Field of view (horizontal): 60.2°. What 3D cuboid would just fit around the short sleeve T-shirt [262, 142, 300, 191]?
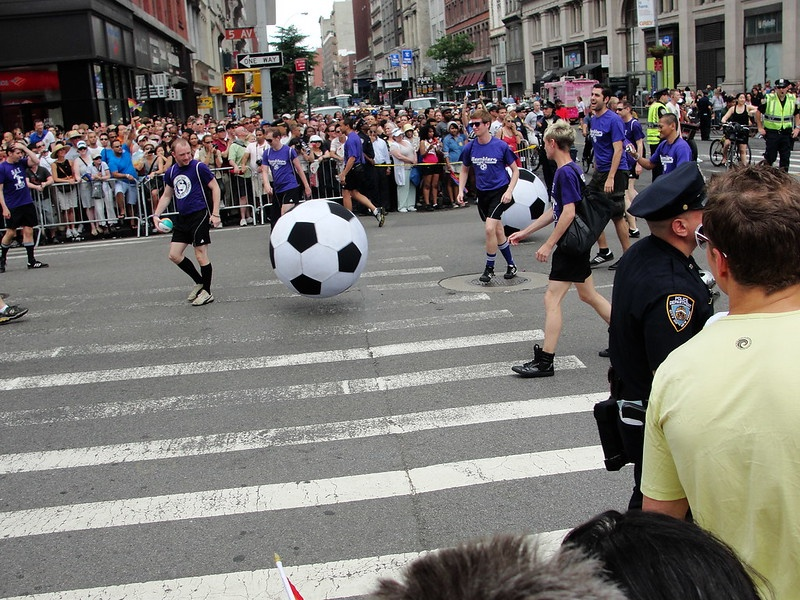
[{"bbox_3d":[-2.359,-2.593,13.672,0.725,0.867,0.455,3,28,14],"label":"short sleeve T-shirt"}]

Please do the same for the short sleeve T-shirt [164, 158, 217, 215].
[{"bbox_3d":[-3.254,-1.712,10.604,0.813,0.841,0.446,-3,11,17],"label":"short sleeve T-shirt"}]

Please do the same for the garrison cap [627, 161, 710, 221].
[{"bbox_3d":[1.241,-0.551,3.140,0.312,0.123,0.244,-27,25,-8],"label":"garrison cap"}]

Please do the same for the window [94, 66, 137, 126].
[{"bbox_3d":[-12.343,-8.403,29.229,0.124,2.998,4.900,-4,16,-37],"label":"window"}]

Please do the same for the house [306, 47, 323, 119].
[{"bbox_3d":[-28.059,-75.168,232.569,4.739,22.662,6.760,6,10,6],"label":"house"}]
